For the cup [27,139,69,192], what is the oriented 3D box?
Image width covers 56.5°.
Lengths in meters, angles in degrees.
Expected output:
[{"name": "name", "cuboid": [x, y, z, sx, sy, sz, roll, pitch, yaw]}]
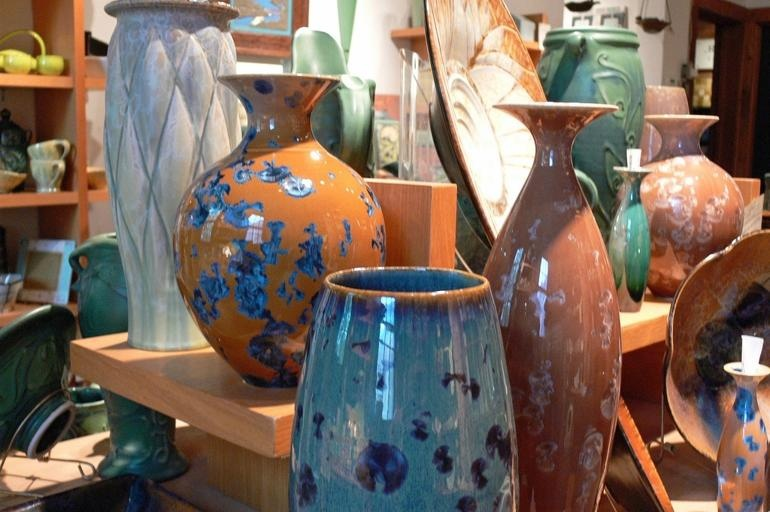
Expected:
[{"name": "cup", "cuboid": [-1.169, -0.313, 2.490, 0.174, 0.206, 0.126, 1, 3, -34]}]

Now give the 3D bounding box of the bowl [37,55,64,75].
[{"name": "bowl", "cuboid": [-1.174, -0.646, 2.506, 0.064, 0.061, 0.076, -1, 2, 2]}]
